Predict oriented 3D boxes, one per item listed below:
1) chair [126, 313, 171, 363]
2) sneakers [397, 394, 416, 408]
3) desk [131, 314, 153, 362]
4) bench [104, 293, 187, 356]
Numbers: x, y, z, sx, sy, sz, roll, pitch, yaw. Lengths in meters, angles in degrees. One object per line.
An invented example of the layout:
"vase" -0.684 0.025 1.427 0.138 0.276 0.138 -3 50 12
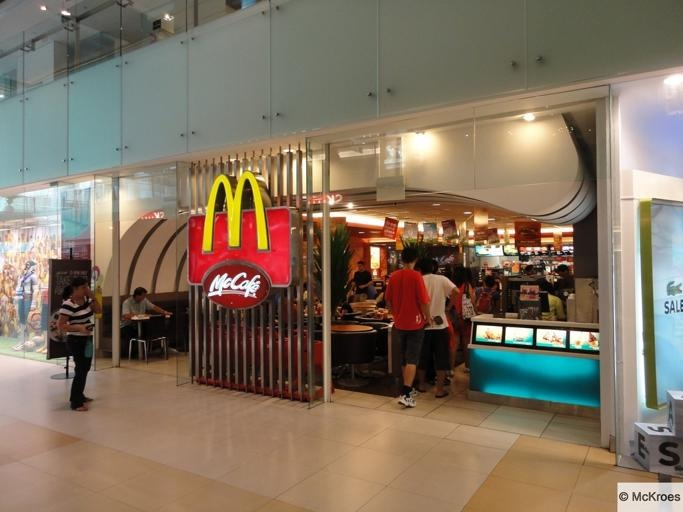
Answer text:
"chair" -3.490 1.493 9.709 0.539 0.807 0.511 1 0 22
"sneakers" 0.826 1.847 6.798 0.102 0.145 0.288 0 -1 32
"desk" -3.495 1.496 9.639 0.533 0.801 0.551 8 -11 -28
"bench" -3.610 1.293 9.755 0.319 0.618 1.144 -1 -2 33
